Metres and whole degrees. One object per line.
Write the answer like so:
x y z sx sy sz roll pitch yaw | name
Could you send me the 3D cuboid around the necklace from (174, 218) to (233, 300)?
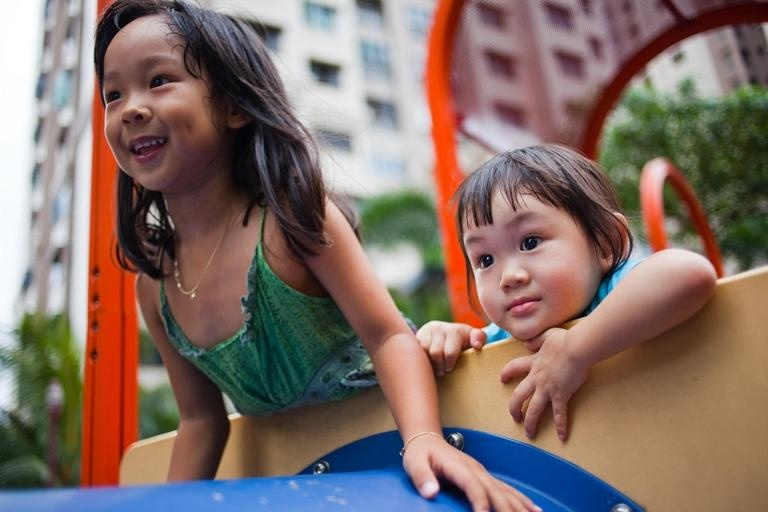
-0.483 0.010 2.030 0.111 0.311 0.032 26 6 29 | necklace
